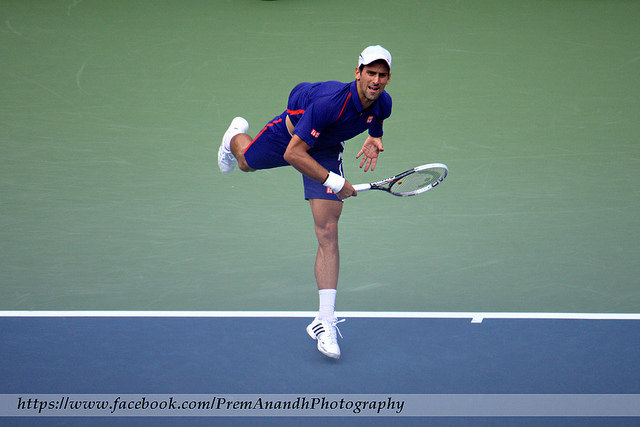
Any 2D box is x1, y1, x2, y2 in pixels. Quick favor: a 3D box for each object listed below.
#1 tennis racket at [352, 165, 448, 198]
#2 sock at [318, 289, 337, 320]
[{"bbox_3d":[0.887,-0.313,6.831,1.132,0.288,0.069,-6,49,-4],"label":"tennis racket"},{"bbox_3d":[0.054,0.840,6.540,0.149,0.267,0.145,1,20,1],"label":"sock"}]
